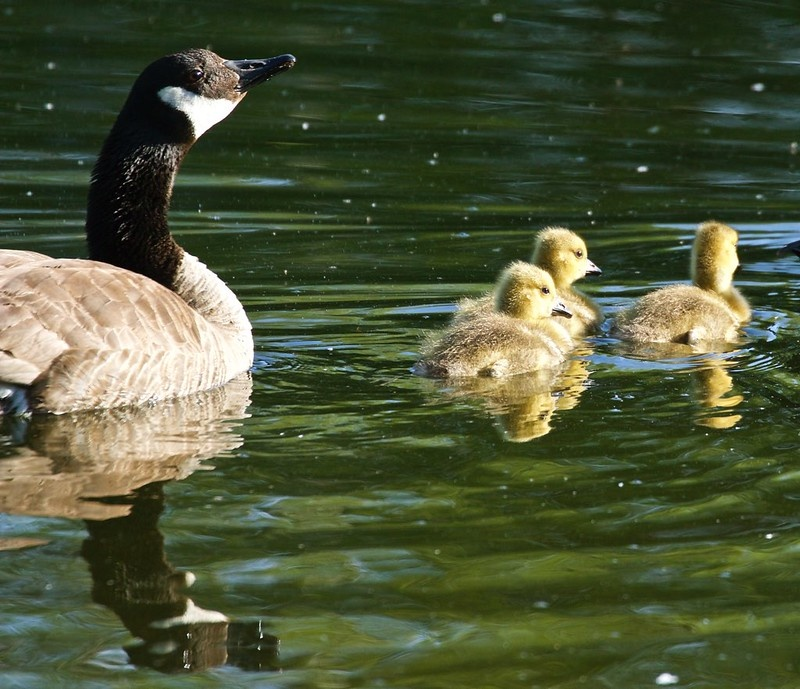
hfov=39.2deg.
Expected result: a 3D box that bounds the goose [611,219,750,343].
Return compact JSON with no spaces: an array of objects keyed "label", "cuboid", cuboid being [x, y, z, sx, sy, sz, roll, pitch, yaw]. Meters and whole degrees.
[{"label":"goose","cuboid":[2.333,-0.512,9.305,1.038,1.014,1.367,-1,2,16]}]
